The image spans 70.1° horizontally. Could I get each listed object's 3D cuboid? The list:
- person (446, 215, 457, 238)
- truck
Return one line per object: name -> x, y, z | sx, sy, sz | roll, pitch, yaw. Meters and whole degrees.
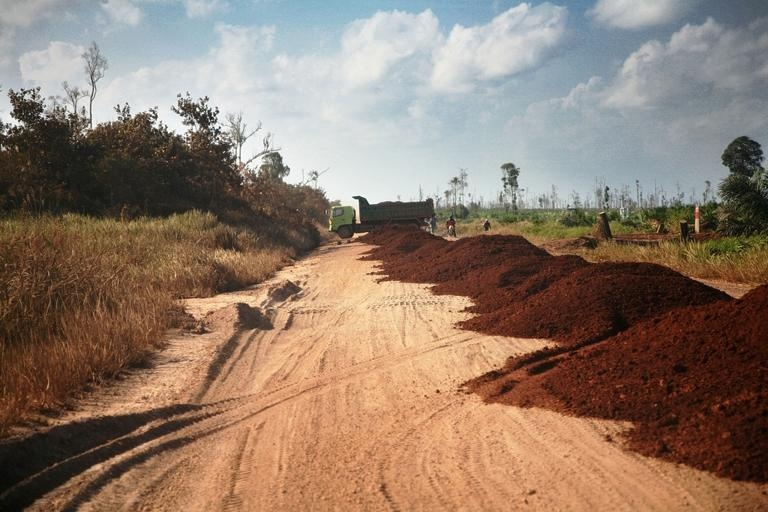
person -> 4.255, -1.793, 34.783 | 0.733, 1.038, 1.596 | 1, 8, 4
truck -> -0.284, -3.039, 40.344 | 7.515, 3.205, 2.628 | -2, 13, -8
